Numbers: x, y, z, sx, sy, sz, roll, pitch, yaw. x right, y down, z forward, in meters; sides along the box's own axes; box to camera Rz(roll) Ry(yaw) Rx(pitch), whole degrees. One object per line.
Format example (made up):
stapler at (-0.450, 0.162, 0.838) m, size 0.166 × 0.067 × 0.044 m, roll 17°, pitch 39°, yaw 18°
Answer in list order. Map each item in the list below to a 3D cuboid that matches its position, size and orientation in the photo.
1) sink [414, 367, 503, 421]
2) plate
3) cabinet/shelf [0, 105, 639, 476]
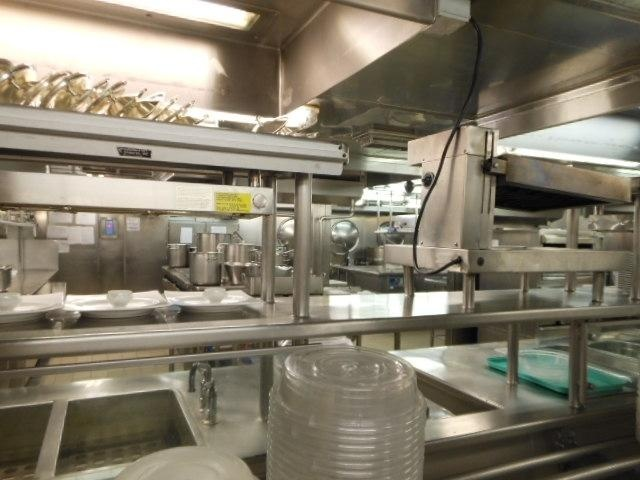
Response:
sink at (0.617, 0.689, 2.220) m, size 0.415 × 0.092 × 0.408 m, roll 5°, pitch -1°, yaw -18°
plate at (-0.613, 0.206, 1.722) m, size 0.786 × 0.068 × 0.316 m, roll 1°, pitch 5°, yaw -15°
cabinet/shelf at (0.103, 0.273, 2.057) m, size 2.416 × 1.316 × 0.913 m, roll 0°, pitch 5°, yaw -21°
